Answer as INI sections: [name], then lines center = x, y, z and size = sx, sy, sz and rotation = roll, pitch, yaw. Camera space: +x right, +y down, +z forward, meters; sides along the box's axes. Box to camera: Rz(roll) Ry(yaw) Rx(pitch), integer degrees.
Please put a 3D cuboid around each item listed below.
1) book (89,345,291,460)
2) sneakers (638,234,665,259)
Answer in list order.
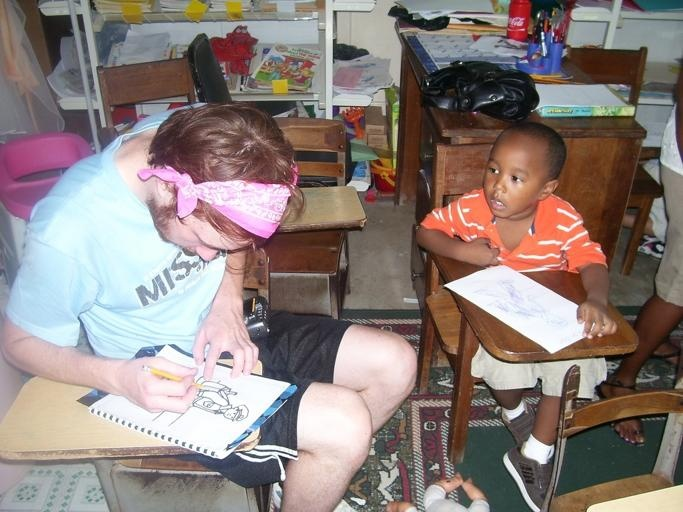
[book]
center = -0.371, 0.404, 1.388
size = 0.433, 0.055, 0.315
rotation = 16, 28, 11
[sneakers]
center = 1.805, -0.057, 3.080
size = 0.101, 0.096, 0.275
rotation = 14, 21, 43
